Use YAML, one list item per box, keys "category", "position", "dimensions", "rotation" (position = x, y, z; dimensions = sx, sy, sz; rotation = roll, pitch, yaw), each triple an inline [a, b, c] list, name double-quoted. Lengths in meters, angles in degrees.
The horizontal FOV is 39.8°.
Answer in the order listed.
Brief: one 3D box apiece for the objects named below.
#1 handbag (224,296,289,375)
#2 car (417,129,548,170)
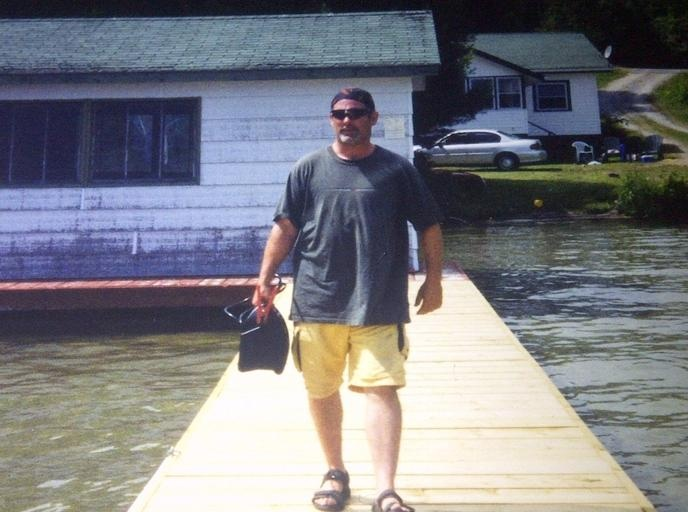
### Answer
- category: "handbag"
  position: [-0.874, 0.800, 9.334]
  dimensions: [0.909, 0.666, 0.532]
  rotation: [-2, 5, -15]
- category: "car"
  position: [4.456, -3.380, 30.292]
  dimensions: [4.269, 0.919, 1.514]
  rotation: [2, 11, 4]
